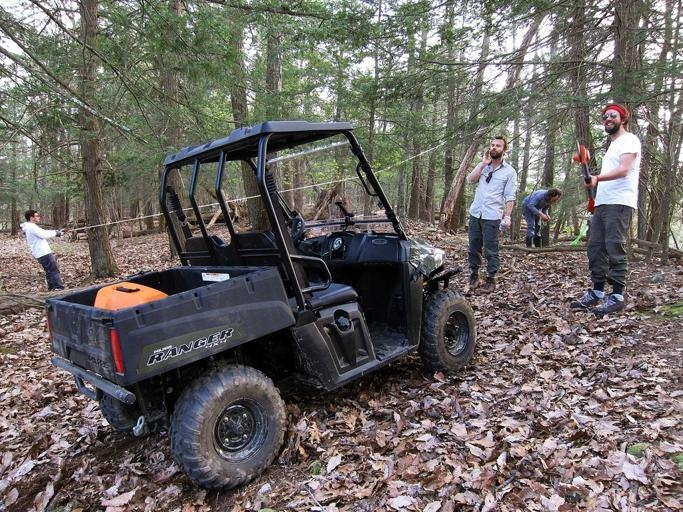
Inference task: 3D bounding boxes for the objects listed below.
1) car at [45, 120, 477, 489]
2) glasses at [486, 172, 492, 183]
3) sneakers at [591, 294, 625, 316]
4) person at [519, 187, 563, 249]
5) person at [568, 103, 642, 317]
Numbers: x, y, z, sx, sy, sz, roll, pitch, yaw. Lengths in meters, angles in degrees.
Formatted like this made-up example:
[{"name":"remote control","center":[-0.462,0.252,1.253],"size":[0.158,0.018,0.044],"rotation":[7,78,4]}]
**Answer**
[{"name":"car","center":[-0.688,0.076,5.937],"size":[4.960,3.024,2.879],"rotation":[-19,17,-38]},{"name":"glasses","center":[2.127,-1.130,6.967],"size":[0.075,0.138,0.035],"rotation":[16,-5,29]},{"name":"sneakers","center":[3.227,0.613,5.926],"size":[0.520,0.246,0.170],"rotation":[-9,-1,3]},{"name":"person","center":[4.364,-0.801,10.570],"size":[0.681,1.308,2.368],"rotation":[-1,10,21]},{"name":"person","center":[3.259,-0.555,5.869],"size":[0.624,2.560,0.764],"rotation":[1,12,29]}]
